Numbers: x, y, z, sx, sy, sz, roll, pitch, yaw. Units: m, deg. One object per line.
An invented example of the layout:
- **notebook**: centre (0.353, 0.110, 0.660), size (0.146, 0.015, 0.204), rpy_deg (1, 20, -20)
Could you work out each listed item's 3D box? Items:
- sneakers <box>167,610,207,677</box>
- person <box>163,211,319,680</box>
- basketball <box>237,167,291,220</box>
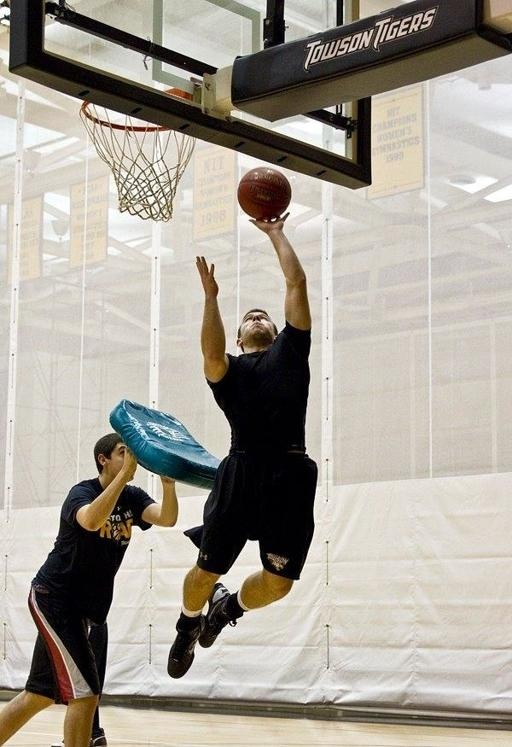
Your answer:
- **sneakers**: centre (-0.364, 1.243, 4.589), size (0.132, 0.346, 0.148), rpy_deg (12, -6, 18)
- **person**: centre (-0.026, 0.358, 4.396), size (0.590, 2.088, 0.680), rpy_deg (4, -3, -3)
- **basketball**: centre (0.040, -0.801, 4.414), size (0.255, 0.238, 0.218), rpy_deg (3, 12, -1)
